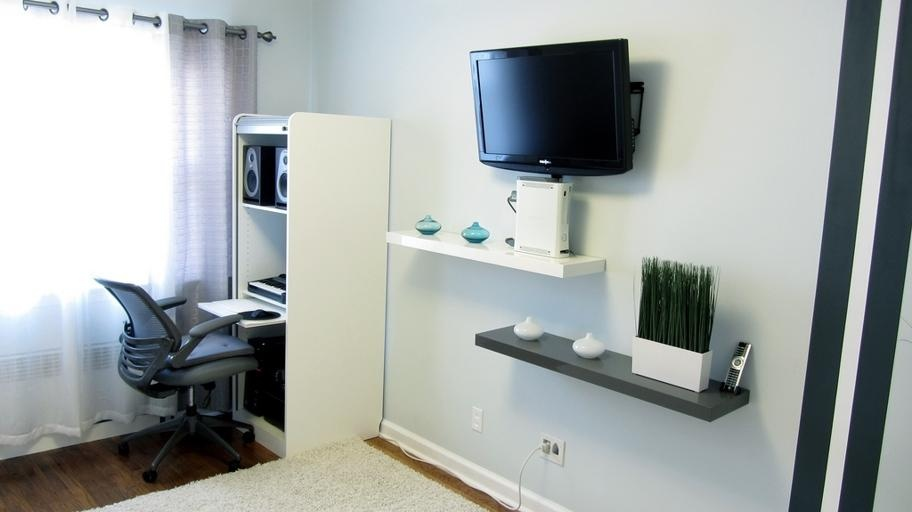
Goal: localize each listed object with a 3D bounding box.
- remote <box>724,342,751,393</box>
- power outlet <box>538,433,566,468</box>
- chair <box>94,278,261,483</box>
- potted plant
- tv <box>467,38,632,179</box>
[{"bbox_3d":[1.441,0.563,3.168,0.076,0.236,0.148,13,19,36],"label":"remote"},{"bbox_3d":[0.579,1.194,3.781,0.018,0.185,0.220,-19,-31,41],"label":"power outlet"},{"bbox_3d":[-1.901,0.774,4.334,0.907,1.198,0.931,1,1,34],"label":"chair"},{"bbox_3d":[1.130,0.353,3.200,0.381,0.623,0.223,6,16,18],"label":"potted plant"},{"bbox_3d":[0.557,-0.840,3.472,0.966,0.643,0.120,4,19,36],"label":"tv"}]
